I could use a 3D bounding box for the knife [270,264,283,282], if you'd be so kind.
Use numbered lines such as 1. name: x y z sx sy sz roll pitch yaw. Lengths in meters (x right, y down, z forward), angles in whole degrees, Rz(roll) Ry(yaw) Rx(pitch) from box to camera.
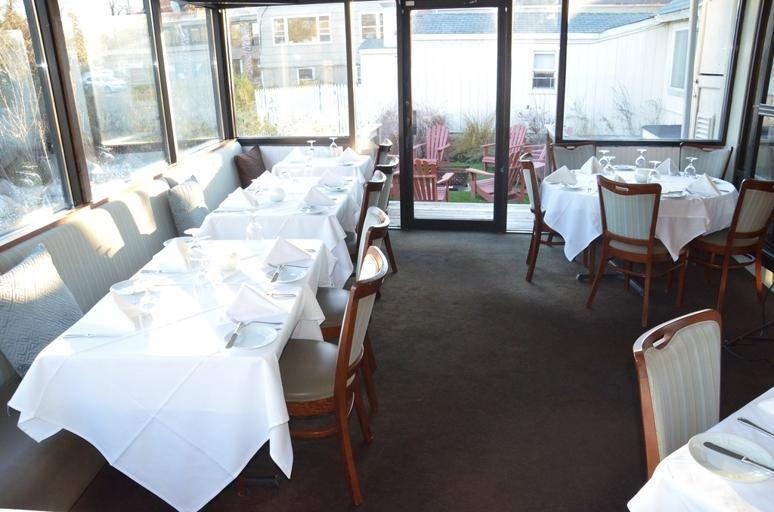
1. knife: -0.736 0.117 3.275 0.039 0.021 0.138 -2 35 11

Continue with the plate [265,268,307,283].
1. plate: -0.648 0.126 3.264 0.232 0.046 0.174 -4 22 -7

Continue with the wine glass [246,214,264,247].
1. wine glass: -0.987 -0.185 3.657 0.099 0.182 0.184 -7 22 -12

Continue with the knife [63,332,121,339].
1. knife: -1.609 0.440 2.704 0.184 0.029 0.027 0 6 -3
